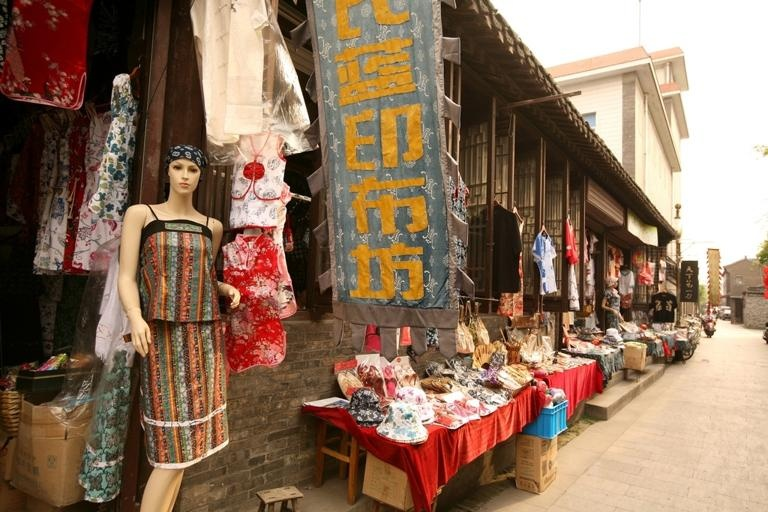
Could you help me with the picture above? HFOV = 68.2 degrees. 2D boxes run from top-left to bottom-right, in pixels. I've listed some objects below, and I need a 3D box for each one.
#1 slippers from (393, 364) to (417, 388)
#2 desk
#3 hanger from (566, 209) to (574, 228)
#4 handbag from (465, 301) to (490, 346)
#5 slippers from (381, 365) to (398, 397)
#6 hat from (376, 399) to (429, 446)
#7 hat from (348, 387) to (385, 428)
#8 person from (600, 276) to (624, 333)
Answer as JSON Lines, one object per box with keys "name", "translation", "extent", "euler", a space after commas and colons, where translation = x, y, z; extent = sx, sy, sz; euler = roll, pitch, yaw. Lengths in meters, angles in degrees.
{"name": "slippers", "translation": [0.276, 1.501, 6.959], "extent": [0.132, 0.181, 0.423], "euler": [-4, -28, 3]}
{"name": "desk", "translation": [1.623, 2.194, 7.983], "extent": [1.530, 1.369, 6.165], "euler": [4, 0, 40]}
{"name": "hanger", "translation": [3.347, -0.672, 10.243], "extent": [0.054, 0.118, 0.466], "euler": [-17, -40, 19]}
{"name": "handbag", "translation": [1.346, 1.031, 8.318], "extent": [0.433, 0.648, 0.340], "euler": [-12, -18, 39]}
{"name": "slippers", "translation": [0.065, 1.516, 6.755], "extent": [0.093, 0.308, 0.213], "euler": [-5, -7, 41]}
{"name": "hat", "translation": [0.186, 1.687, 5.740], "extent": [0.382, 0.212, 0.389], "euler": [12, -11, -43]}
{"name": "hat", "translation": [-0.172, 1.623, 6.047], "extent": [0.397, 0.292, 0.283], "euler": [-7, -10, 34]}
{"name": "person", "translation": [5.352, 1.123, 13.332], "extent": [0.418, 1.302, 1.418], "euler": [3, 0, 23]}
